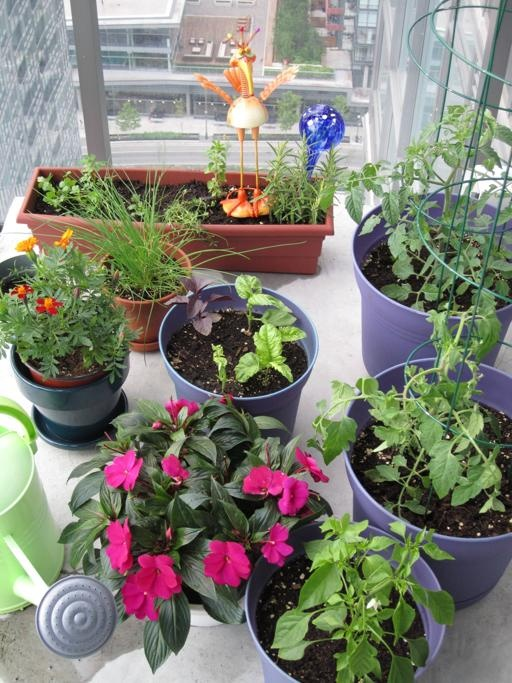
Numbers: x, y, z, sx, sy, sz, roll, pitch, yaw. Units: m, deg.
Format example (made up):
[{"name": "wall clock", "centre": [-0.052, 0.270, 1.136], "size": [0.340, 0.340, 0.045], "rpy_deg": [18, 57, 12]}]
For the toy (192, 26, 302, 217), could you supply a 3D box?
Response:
[{"name": "toy", "centre": [-0.023, -0.757, 1.800], "size": [0.351, 0.590, 0.301], "rpy_deg": [-6, 35, -6]}]
